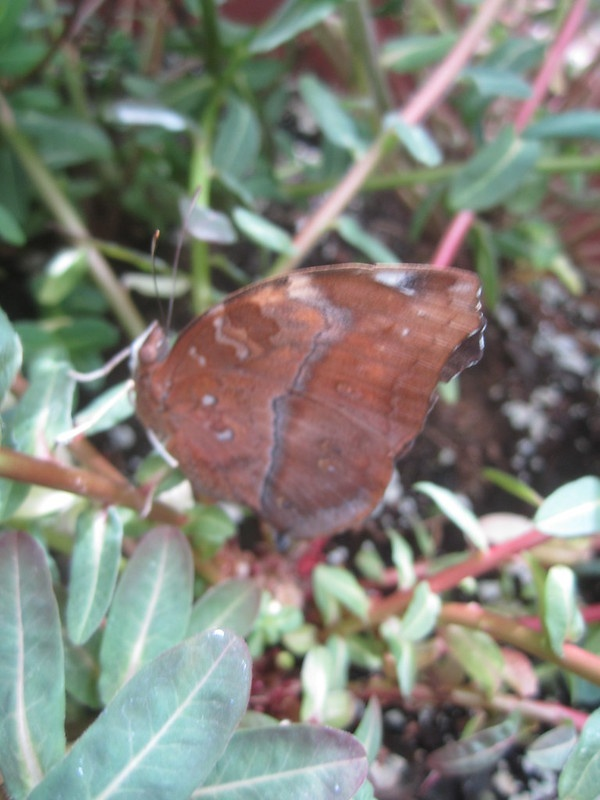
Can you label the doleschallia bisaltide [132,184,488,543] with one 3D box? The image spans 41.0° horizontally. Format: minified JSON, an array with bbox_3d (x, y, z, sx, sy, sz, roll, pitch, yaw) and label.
[{"bbox_3d":[-0.001,-0.009,0.398,0.136,0.092,0.145,28,86,4],"label":"doleschallia bisaltide"}]
